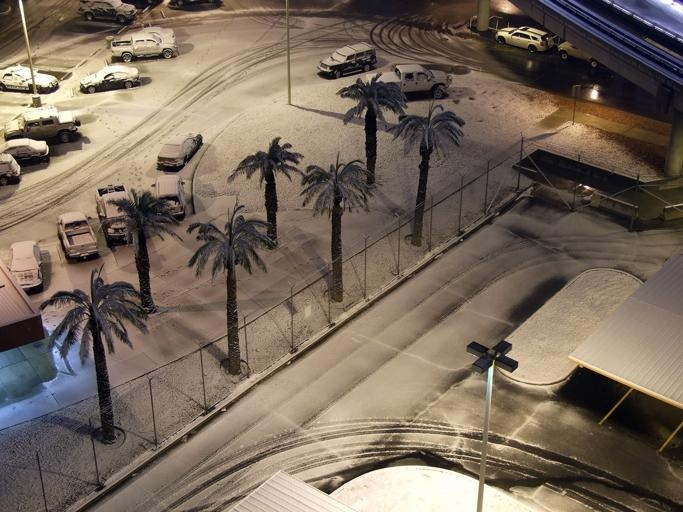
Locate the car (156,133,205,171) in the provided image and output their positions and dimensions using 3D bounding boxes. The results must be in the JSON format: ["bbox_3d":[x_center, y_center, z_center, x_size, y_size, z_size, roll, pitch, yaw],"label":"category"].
[{"bbox_3d":[-15.525,-10.427,54.987,2.826,1.858,5.871,9,37,3],"label":"car"}]

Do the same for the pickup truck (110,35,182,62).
[{"bbox_3d":[-24.403,-25.451,71.057,7.311,2.763,2.148,-4,34,-12],"label":"pickup truck"}]

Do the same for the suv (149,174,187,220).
[{"bbox_3d":[-14.688,-5.374,48.851,2.859,2.258,5.226,-2,42,-15],"label":"suv"}]

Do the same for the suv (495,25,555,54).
[{"bbox_3d":[22.953,-27.763,73.875,6.422,1.937,3.138,19,51,21],"label":"suv"}]
